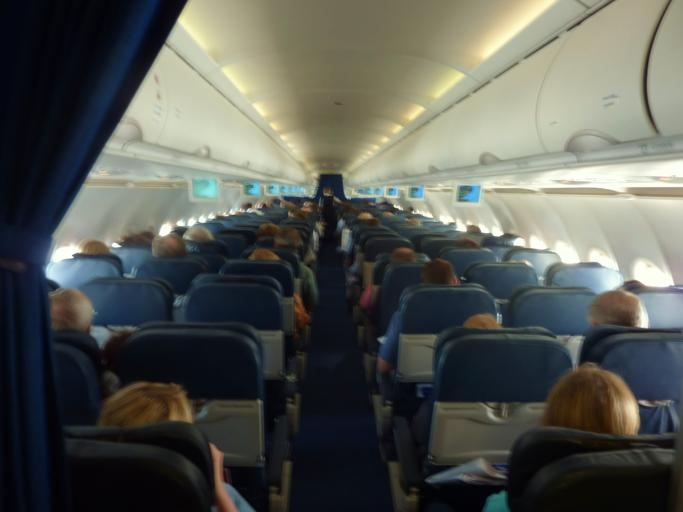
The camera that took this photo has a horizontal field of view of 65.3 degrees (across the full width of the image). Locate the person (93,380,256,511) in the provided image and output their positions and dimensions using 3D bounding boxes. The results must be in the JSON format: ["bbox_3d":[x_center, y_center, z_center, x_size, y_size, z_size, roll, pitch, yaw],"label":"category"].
[{"bbox_3d":[-0.788,0.840,2.634,0.456,0.829,0.784,-1,11,4],"label":"person"}]

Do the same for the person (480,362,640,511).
[{"bbox_3d":[1.051,0.770,2.758,0.509,0.768,0.781,0,16,17],"label":"person"}]

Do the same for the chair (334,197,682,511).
[{"bbox_3d":[1.071,0.804,4.071,1.168,1.112,1.974,0,9,1],"label":"chair"}]

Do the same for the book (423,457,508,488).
[{"bbox_3d":[0.744,1.214,2.978,0.288,0.094,0.301,-2,-5,-2],"label":"book"}]
